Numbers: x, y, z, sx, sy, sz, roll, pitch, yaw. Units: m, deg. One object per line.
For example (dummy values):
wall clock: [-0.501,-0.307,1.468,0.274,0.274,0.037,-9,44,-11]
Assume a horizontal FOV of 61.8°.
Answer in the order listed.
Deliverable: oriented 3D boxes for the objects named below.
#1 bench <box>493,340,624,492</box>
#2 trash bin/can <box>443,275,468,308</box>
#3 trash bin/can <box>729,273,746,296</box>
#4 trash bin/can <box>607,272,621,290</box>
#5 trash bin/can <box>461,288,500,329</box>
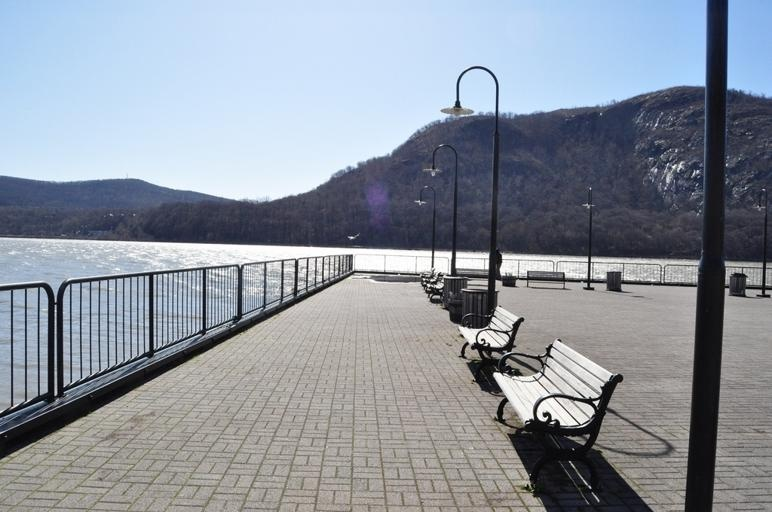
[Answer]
bench: [2.169,1.927,8.413,1.110,1.374,1.706,1,10,-3]
trash bin/can: [1.835,0.962,17.756,0.787,0.898,0.823,0,-1,-3]
trash bin/can: [15.499,1.238,28.406,0.648,1.086,0.857,7,11,30]
trash bin/can: [10.675,1.127,29.973,0.738,0.923,0.771,-1,-3,-2]
trash bin/can: [2.087,1.156,14.435,0.849,0.714,0.870,4,-2,-23]
